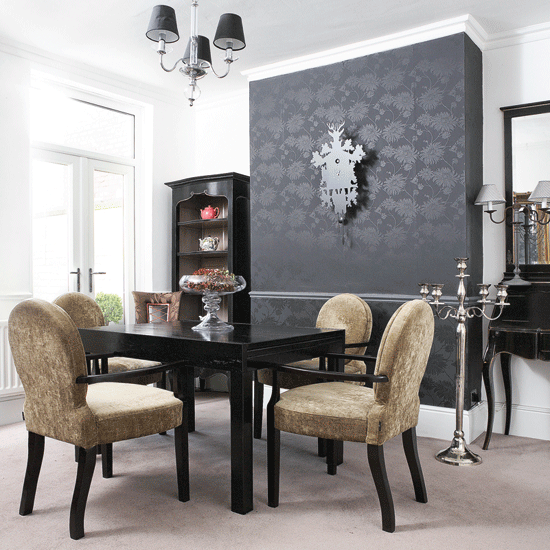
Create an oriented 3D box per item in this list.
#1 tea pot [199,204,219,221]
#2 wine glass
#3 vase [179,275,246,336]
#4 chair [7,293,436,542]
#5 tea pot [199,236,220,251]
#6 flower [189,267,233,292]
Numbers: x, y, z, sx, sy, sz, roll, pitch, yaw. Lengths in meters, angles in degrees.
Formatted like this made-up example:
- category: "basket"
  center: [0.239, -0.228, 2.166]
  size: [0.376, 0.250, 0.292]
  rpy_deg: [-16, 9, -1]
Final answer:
- category: "tea pot"
  center: [-0.657, -0.604, 5.247]
  size: [0.182, 0.130, 0.128]
  rpy_deg: [2, 0, 30]
- category: "wine glass"
  center: [-0.371, 0.198, 3.095]
  size: [0.343, 0.290, 0.339]
  rpy_deg: [1, -7, -22]
- category: "vase"
  center: [-0.368, 0.166, 3.097]
  size: [0.338, 0.289, 0.337]
  rpy_deg: [1, -6, -21]
- category: "chair"
  center: [-0.478, 0.589, 2.589]
  size: [1.449, 0.724, 0.788]
  rpy_deg: [1, 0, -13]
- category: "tea pot"
  center: [-0.639, -0.293, 5.149]
  size: [0.173, 0.126, 0.150]
  rpy_deg: [5, 5, 35]
- category: "flower"
  center: [-0.363, 0.034, 2.985]
  size: [0.141, 0.079, 0.166]
  rpy_deg: [3, -4, -32]
